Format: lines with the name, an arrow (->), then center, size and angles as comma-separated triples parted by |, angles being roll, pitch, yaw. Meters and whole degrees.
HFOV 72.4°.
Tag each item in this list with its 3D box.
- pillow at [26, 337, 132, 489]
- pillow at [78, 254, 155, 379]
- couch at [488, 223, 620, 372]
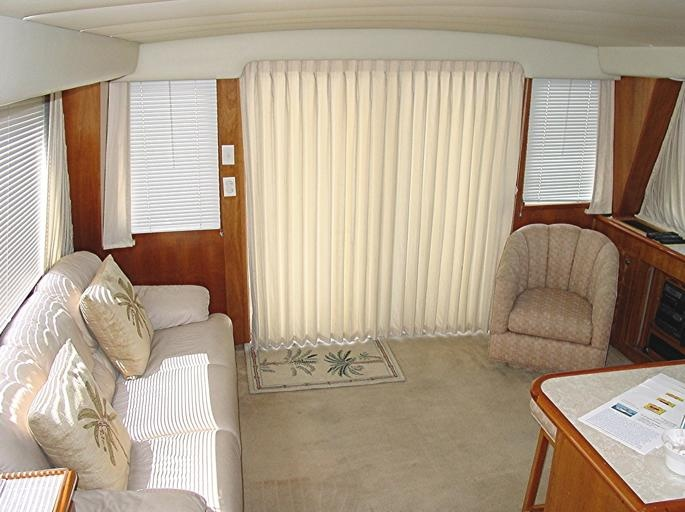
pillow -> -1.394, 0.831, 2.443 | 0.281, 0.533, 0.558 | -6, 25, -13
pillow -> -1.647, 0.461, 3.374 | 0.303, 0.544, 0.698 | -7, 23, -11
couch -> 1.839, 0.395, 4.680 | 1.168, 1.445, 1.323 | 6, 26, 15
